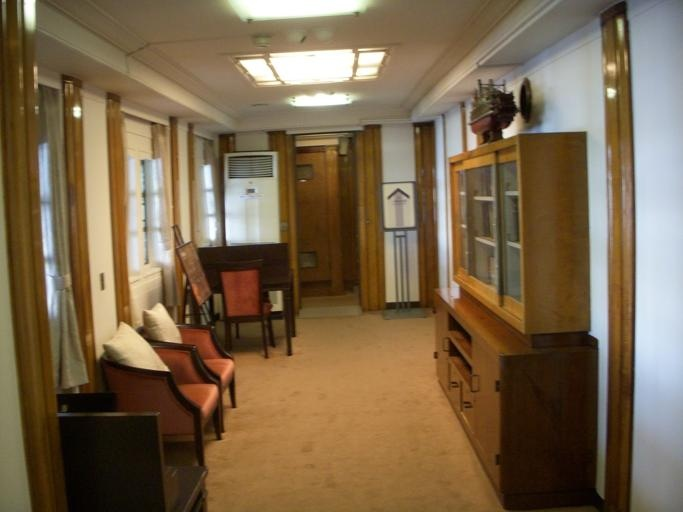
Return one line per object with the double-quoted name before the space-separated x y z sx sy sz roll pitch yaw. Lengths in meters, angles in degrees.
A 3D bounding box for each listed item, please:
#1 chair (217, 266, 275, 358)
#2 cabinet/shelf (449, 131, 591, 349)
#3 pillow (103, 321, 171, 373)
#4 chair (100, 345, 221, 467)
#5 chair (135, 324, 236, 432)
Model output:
"chair" -0.977 0.551 5.937 0.506 0.977 0.567 -6 6 -8
"cabinet/shelf" 1.124 -0.085 3.528 0.513 1.368 1.681 -2 0 -1
"pillow" -1.383 0.631 3.805 0.114 0.355 0.382 -42 -42 15
"chair" -1.170 0.971 4.124 0.788 0.832 0.785 -1 0 -1
"chair" -1.079 0.921 4.600 0.784 0.873 0.675 1 4 3
